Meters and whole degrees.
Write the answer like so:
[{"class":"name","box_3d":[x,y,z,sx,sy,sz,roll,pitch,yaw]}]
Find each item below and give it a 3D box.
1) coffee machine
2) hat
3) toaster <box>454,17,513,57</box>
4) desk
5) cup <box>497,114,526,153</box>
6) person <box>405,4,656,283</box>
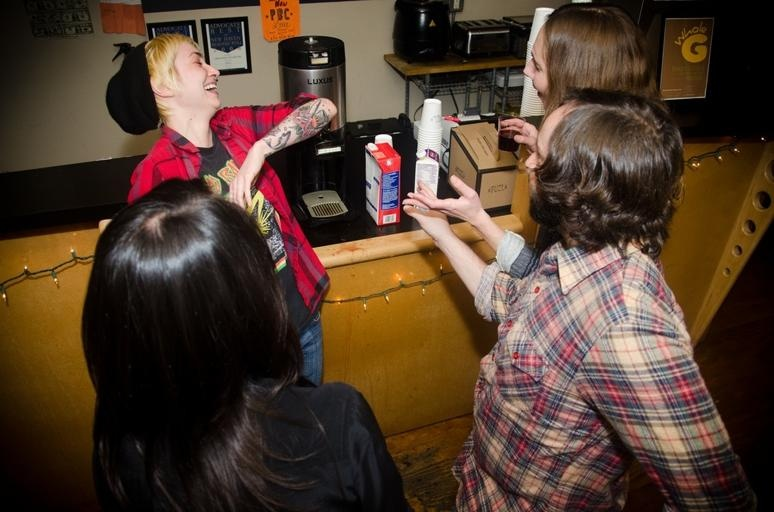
[{"class":"coffee machine","box_3d":[-0.304,-0.553,2.304,0.287,0.712,0.427,-11,25,-25]},{"class":"hat","box_3d":[-0.877,-0.567,1.783,0.200,0.284,0.111,-16,29,-22]},{"class":"toaster","box_3d":[0.710,-1.621,3.870,0.371,0.228,0.288,-12,37,-15]},{"class":"desk","box_3d":[0.478,-1.223,3.684,0.749,0.566,0.409,-7,28,-13]},{"class":"cup","box_3d":[0.500,-0.521,2.182,0.104,0.128,0.148,-11,41,-6]},{"class":"person","box_3d":[0.529,-0.536,2.053,0.824,1.062,0.797,11,36,27]}]
